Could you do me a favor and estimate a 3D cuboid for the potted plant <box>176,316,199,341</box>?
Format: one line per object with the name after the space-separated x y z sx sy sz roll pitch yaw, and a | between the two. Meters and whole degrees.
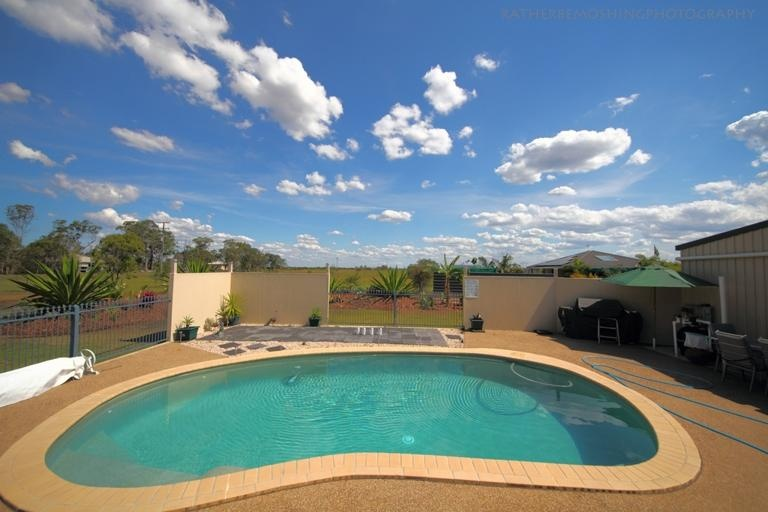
-8.173 3.096 15.622 0.884 0.580 1.286 4 3 0 | potted plant

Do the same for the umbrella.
10.727 1.955 14.894 3.359 2.637 3.523 0 -3 19 | umbrella

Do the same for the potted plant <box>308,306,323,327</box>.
-3.339 2.946 18.036 0.589 0.859 0.427 3 -4 -4 | potted plant

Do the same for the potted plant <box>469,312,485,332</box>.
4.313 3.036 17.270 0.618 0.851 0.599 2 -4 13 | potted plant

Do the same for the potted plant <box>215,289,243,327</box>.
-7.761 2.549 18.112 1.441 1.781 1.350 1 2 8 | potted plant
